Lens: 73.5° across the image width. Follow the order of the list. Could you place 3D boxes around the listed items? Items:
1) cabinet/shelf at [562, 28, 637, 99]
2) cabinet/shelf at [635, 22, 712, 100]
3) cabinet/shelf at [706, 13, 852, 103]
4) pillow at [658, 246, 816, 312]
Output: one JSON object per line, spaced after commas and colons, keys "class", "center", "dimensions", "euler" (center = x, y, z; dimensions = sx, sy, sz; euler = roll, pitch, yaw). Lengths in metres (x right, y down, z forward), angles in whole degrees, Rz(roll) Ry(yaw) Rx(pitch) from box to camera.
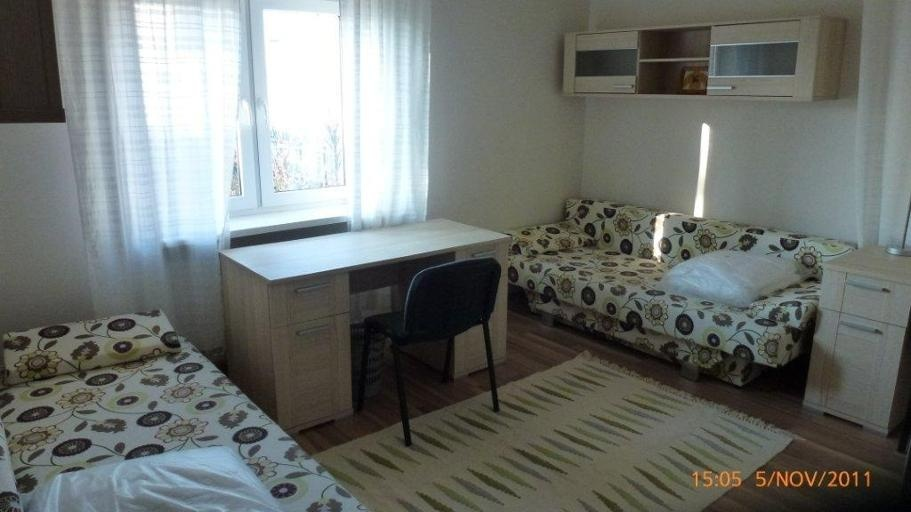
{"class": "cabinet/shelf", "center": [1.274, -1.685, 5.353], "dimensions": [0.422, 0.455, 0.726], "euler": [-8, 16, -41]}
{"class": "cabinet/shelf", "center": [1.852, -1.654, 5.162], "dimensions": [0.399, 0.587, 0.734], "euler": [-11, 19, -37]}
{"class": "cabinet/shelf", "center": [2.351, -1.481, 4.605], "dimensions": [0.822, 0.580, 0.356], "euler": [5, 20, 15]}
{"class": "pillow", "center": [2.153, 0.169, 4.605], "dimensions": [1.078, 0.284, 0.517], "euler": [-2, 17, -8]}
